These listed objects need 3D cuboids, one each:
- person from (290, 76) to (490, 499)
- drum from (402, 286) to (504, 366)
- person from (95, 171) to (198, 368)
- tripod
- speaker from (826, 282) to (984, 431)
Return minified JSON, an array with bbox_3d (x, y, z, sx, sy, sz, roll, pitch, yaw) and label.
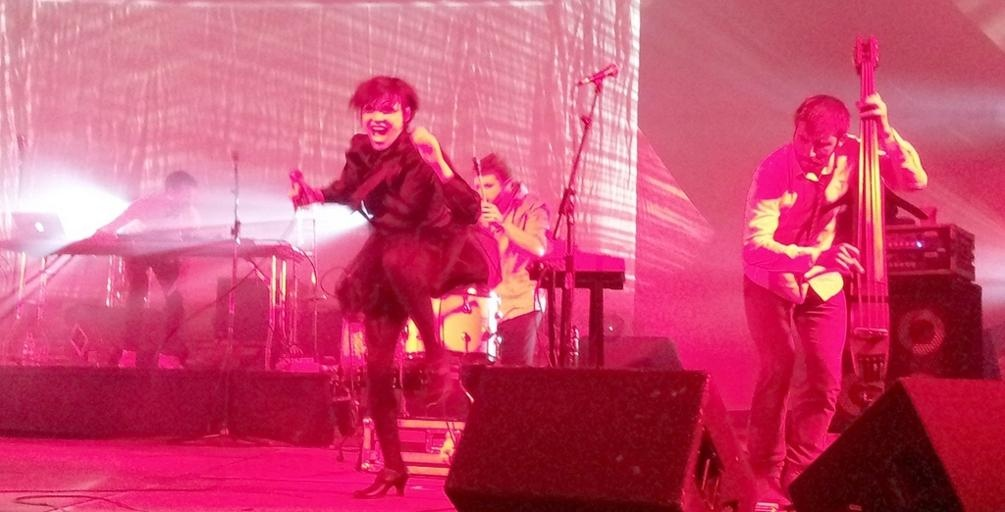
[{"bbox_3d":[-0.922,0.243,6.343,1.315,3.421,0.372,2,-5,-13],"label":"person"},{"bbox_3d":[-0.465,0.592,6.728,0.691,0.397,0.618,-2,-10,4],"label":"drum"},{"bbox_3d":[-4.152,0.092,9.048,0.937,2.303,1.327,3,-5,-27],"label":"person"},{"bbox_3d":[-3.007,0.447,8.590,0.543,3.031,1.977,3,-5,-17],"label":"tripod"},{"bbox_3d":[3.557,0.717,6.590,1.528,1.256,0.353,0,2,10],"label":"speaker"}]
